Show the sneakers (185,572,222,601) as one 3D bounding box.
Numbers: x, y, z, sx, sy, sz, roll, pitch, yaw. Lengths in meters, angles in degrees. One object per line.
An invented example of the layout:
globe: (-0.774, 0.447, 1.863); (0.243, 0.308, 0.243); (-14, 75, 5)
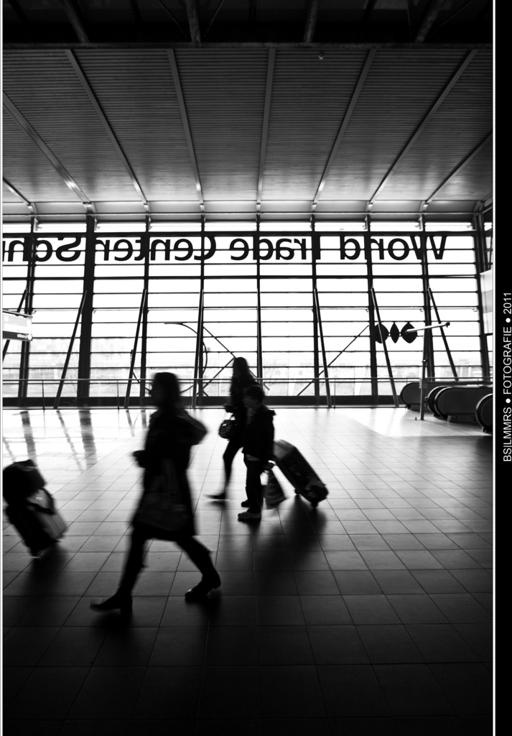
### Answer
sneakers: (-0.266, 1.266, 3.155); (0.271, 0.122, 0.093); (1, -15, -40)

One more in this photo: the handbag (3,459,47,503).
handbag: (-1.692, 0.840, 3.939); (0.266, 0.301, 0.248); (0, -1, -26)

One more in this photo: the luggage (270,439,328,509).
luggage: (0.454, 1.174, 5.867); (0.302, 0.875, 0.512); (-31, -17, -4)

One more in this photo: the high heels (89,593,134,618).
high heels: (-0.783, 1.276, 2.948); (0.193, 0.095, 0.111); (11, -16, 4)

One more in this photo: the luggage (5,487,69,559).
luggage: (-1.657, 1.129, 4.022); (0.358, 0.395, 0.490); (0, -1, 3)

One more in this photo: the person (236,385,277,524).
person: (-0.010, 0.758, 4.900); (0.318, 1.186, 0.354); (0, -1, -2)

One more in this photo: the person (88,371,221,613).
person: (-0.543, 0.676, 3.009); (0.669, 1.300, 0.393); (0, -1, -5)
